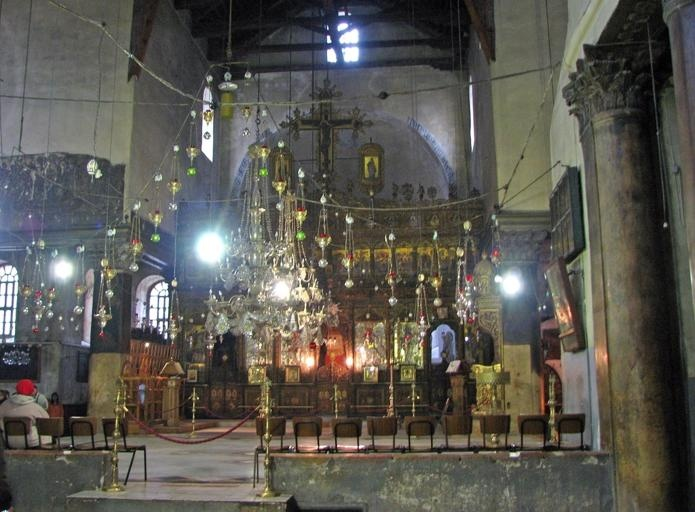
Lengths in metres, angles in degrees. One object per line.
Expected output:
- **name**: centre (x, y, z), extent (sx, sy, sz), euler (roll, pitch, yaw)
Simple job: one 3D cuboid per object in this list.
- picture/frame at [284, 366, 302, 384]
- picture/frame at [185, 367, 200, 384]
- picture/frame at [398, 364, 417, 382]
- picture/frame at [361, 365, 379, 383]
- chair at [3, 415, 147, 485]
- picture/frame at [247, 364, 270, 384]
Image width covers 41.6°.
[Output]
- **picture/frame**: centre (-1.570, 3.481, 27.065), extent (0.415, 0.556, 0.078), euler (0, -15, 0)
- **picture/frame**: centre (-4.578, 3.534, 27.235), extent (0.376, 0.513, 0.065), euler (0, -17, -2)
- **picture/frame**: centre (1.818, 3.426, 26.784), extent (0.467, 0.547, 0.440), euler (-1, -10, 3)
- **picture/frame**: centre (0.708, 3.452, 26.979), extent (0.427, 0.572, 0.084), euler (1, -14, 3)
- **chair**: centre (-5.113, 3.628, 17.068), extent (1.522, 0.959, 0.617), euler (-1, -11, 9)
- **picture/frame**: centre (-2.684, 3.470, 27.004), extent (0.461, 0.555, 0.208), euler (-2, -8, 8)
